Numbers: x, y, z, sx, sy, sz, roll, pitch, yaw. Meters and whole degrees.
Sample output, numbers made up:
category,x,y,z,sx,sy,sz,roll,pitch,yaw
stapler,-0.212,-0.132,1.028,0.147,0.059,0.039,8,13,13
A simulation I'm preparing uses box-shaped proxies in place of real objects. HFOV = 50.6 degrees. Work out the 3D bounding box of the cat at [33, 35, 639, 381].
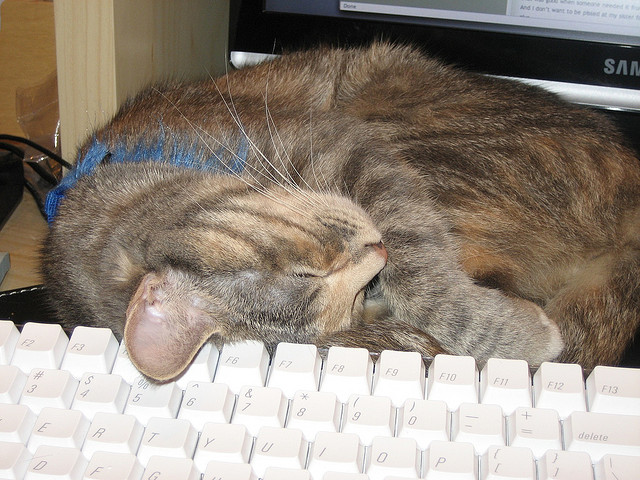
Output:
category,x,y,z,sx,sy,sz,roll,pitch,yaw
cat,0.050,-0.048,1.087,0.766,0.474,0.594,6,32,-2
